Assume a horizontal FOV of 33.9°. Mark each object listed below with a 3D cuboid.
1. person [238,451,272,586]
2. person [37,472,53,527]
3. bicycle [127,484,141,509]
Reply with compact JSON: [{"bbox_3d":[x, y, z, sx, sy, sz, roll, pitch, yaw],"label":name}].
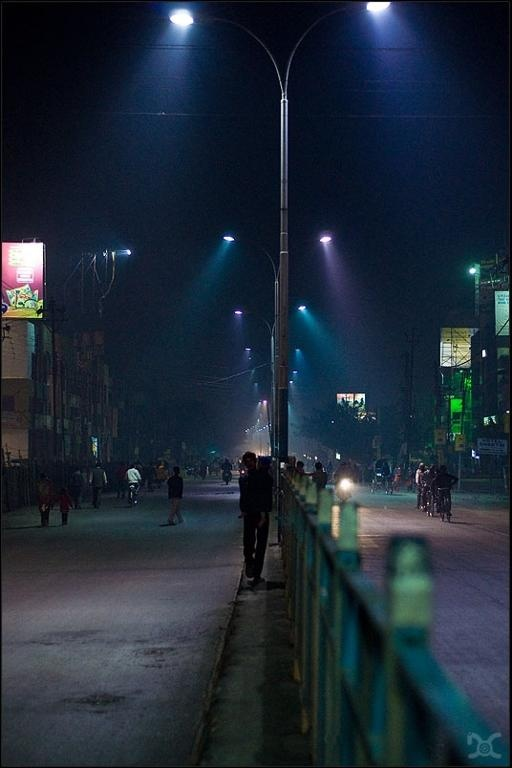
[{"bbox_3d":[-0.001,2.019,12.695,0.482,1.910,1.785,0,-3,0],"label":"person"},{"bbox_3d":[-6.256,3.342,24.878,0.405,1.887,0.421,3,28,-8],"label":"person"},{"bbox_3d":[-5.263,4.760,35.817,0.309,0.958,1.289,1,-3,-3],"label":"bicycle"}]
